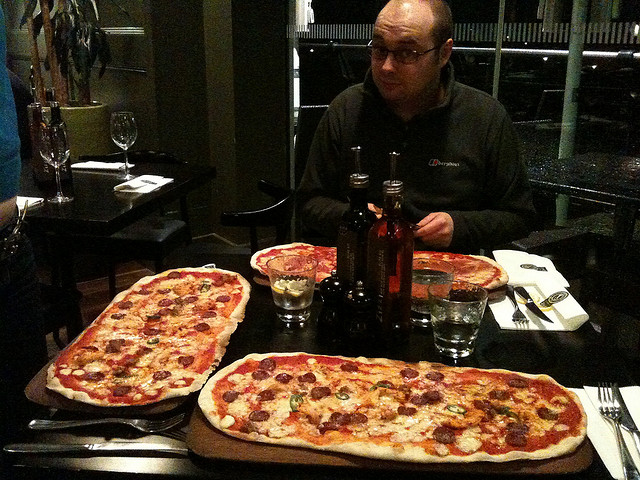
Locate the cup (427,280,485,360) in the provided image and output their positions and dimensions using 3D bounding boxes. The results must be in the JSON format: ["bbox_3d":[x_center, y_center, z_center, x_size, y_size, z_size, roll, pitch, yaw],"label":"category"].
[{"bbox_3d":[0.323,0.198,1.226,0.159,0.150,0.150,3,-4,0],"label":"cup"}]

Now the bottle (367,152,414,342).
[{"bbox_3d":[0.160,0.050,1.186,0.106,0.396,0.077,3,21,12],"label":"bottle"}]

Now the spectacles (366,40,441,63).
[{"bbox_3d":[0.333,-0.725,1.976,0.258,0.066,0.109,2,19,6],"label":"spectacles"}]

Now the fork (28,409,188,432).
[{"bbox_3d":[-0.414,0.355,0.994,0.295,0.019,0.062,-2,18,-5],"label":"fork"}]

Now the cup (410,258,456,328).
[{"bbox_3d":[0.265,0.114,1.333,0.118,0.174,0.135,-15,19,-38],"label":"cup"}]

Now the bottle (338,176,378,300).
[{"bbox_3d":[0.111,0.023,1.314,0.098,0.364,0.093,-6,11,1],"label":"bottle"}]

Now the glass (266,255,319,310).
[{"bbox_3d":[-0.082,0.123,1.378,0.160,0.119,0.163,0,-2,6],"label":"glass"}]

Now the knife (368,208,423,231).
[{"bbox_3d":[0.211,-0.059,1.419,0.133,0.026,0.030,18,48,19],"label":"knife"}]

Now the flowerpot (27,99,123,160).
[{"bbox_3d":[-1.866,-0.869,4.180,0.841,0.543,0.776,-1,6,-8],"label":"flowerpot"}]

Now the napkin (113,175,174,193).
[{"bbox_3d":[-0.916,-0.297,2.681,0.146,0.017,0.168,9,20,18],"label":"napkin"}]

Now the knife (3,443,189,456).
[{"bbox_3d":[-0.411,0.385,0.942,0.343,0.017,0.023,0,19,0],"label":"knife"}]

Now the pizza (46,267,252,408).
[{"bbox_3d":[-0.401,0.220,1.325,0.383,0.062,0.679,4,19,5],"label":"pizza"}]

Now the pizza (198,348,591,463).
[{"bbox_3d":[0.135,0.331,1.052,0.761,0.050,0.316,2,22,10],"label":"pizza"}]

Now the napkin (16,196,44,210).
[{"bbox_3d":[-1.216,-0.156,2.145,0.107,0.026,0.104,3,17,3],"label":"napkin"}]

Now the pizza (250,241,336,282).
[{"bbox_3d":[-0.031,0.074,1.641,0.307,0.032,0.319,9,20,10],"label":"pizza"}]

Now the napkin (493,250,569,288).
[{"bbox_3d":[0.626,0.092,1.589,0.231,0.029,0.253,-7,22,-1],"label":"napkin"}]

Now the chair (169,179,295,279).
[{"bbox_3d":[-0.362,0.004,2.717,0.474,0.529,0.460,16,42,44],"label":"chair"}]

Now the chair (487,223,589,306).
[{"bbox_3d":[1.148,0.214,2.806,0.487,0.328,0.150,-5,58,41],"label":"chair"}]

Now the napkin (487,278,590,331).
[{"bbox_3d":[0.581,0.170,1.393,0.234,0.058,0.223,0,18,1],"label":"napkin"}]
